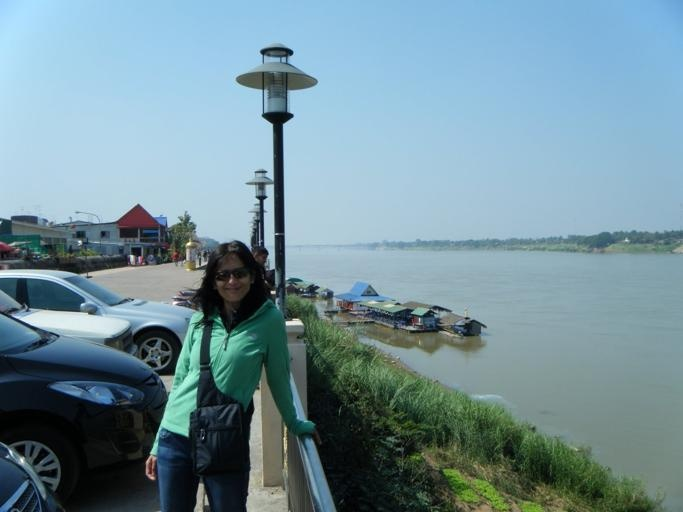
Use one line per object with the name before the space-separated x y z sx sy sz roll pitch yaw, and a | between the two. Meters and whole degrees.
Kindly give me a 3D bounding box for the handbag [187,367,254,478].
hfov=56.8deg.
handbag | -0.931 1.251 4.765 0.400 0.775 0.166 0 -1 19
